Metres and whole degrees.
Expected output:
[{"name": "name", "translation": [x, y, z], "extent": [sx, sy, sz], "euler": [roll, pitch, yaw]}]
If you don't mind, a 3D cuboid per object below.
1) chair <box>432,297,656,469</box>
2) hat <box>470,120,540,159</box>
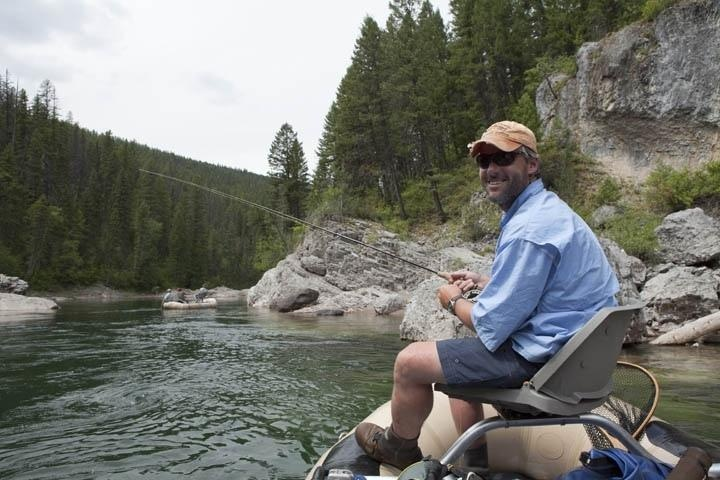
[{"name": "chair", "translation": [2.006, 1.456, 5.094], "extent": [1.765, 1.404, 1.509], "euler": [-7, -15, 38]}, {"name": "hat", "translation": [1.421, -1.053, 4.908], "extent": [0.537, 0.283, 0.364], "euler": [12, -8, -24]}]
